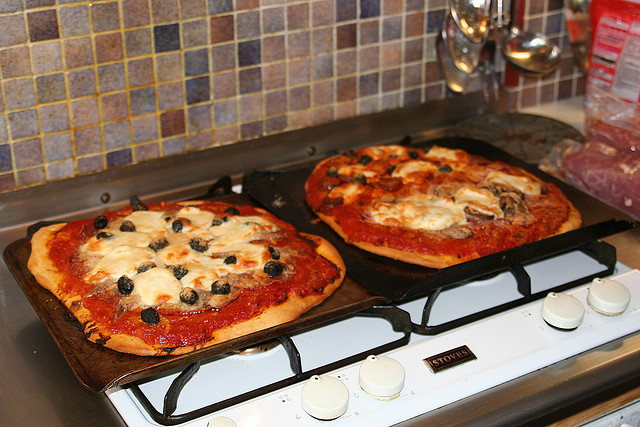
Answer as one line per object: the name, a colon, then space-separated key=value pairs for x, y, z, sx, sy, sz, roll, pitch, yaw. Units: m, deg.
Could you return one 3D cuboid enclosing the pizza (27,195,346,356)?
pizza: x=-0.291 y=0.098 z=1.125 sx=0.637 sy=0.070 sz=0.471 roll=12 pitch=34 yaw=6
